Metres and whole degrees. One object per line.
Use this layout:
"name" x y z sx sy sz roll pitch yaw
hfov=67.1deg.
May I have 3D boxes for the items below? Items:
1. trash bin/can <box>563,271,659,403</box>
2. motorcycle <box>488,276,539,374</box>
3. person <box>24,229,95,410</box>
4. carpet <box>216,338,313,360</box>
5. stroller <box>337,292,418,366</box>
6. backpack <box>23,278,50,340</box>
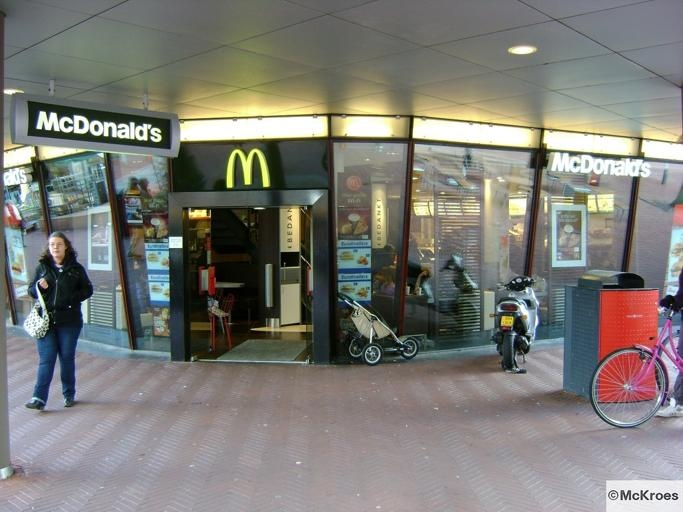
"trash bin/can" 3.292 1.028 6.847 1.114 1.686 1.166 4 7 -3
"motorcycle" 2.847 1.055 8.410 0.664 1.446 1.554 1 4 20
"person" -3.461 0.743 6.650 0.803 2.244 0.773 0 1 -7
"carpet" -1.343 1.732 9.444 1.483 0.060 1.841 -1 4 1
"stroller" 0.576 1.173 8.612 1.229 1.185 0.620 -1 4 -6
"backpack" -3.824 0.722 6.483 0.256 0.784 0.783 -3 5 -31
